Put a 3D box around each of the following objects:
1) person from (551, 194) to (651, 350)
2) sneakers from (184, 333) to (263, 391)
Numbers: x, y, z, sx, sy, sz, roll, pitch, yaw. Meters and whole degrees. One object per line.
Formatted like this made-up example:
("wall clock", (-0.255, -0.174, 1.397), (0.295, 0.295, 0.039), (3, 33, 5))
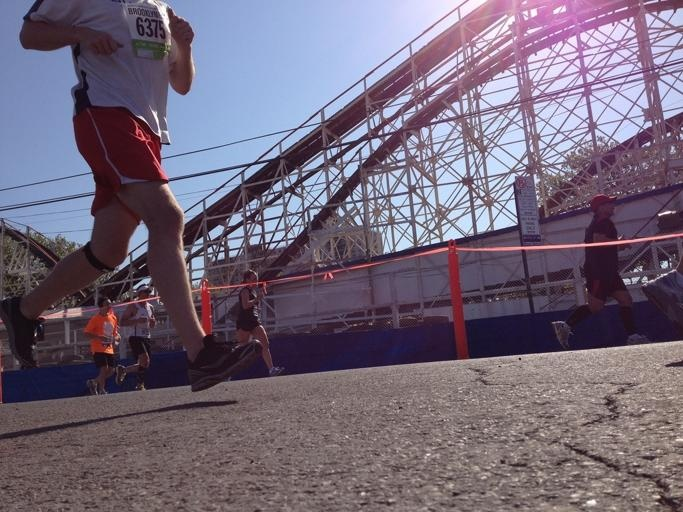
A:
("person", (2.859, 0.223, 6.367), (0.904, 1.734, 1.553), (-8, -7, 25))
("sneakers", (-0.540, 0.475, 2.559), (0.398, 0.235, 0.149), (-28, -29, 19))
